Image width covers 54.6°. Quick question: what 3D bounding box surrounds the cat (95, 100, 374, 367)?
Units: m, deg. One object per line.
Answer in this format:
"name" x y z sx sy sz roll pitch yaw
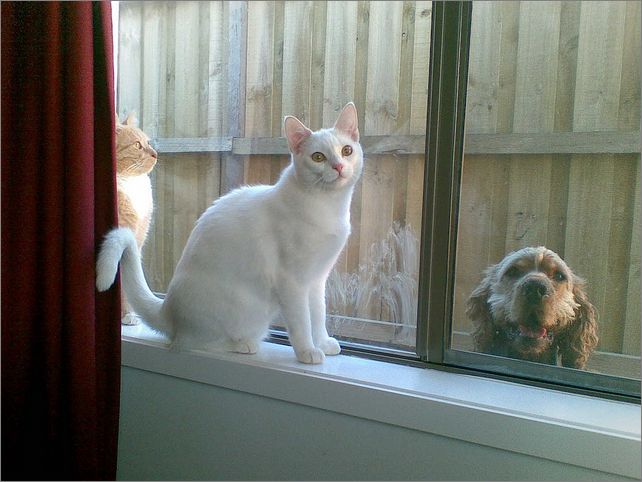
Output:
"cat" -0.274 -0.059 1.731 0.694 0.753 0.318 5 13 -7

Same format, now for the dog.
"dog" 0.560 0.183 1.638 0.256 0.250 0.309 2 -28 18
